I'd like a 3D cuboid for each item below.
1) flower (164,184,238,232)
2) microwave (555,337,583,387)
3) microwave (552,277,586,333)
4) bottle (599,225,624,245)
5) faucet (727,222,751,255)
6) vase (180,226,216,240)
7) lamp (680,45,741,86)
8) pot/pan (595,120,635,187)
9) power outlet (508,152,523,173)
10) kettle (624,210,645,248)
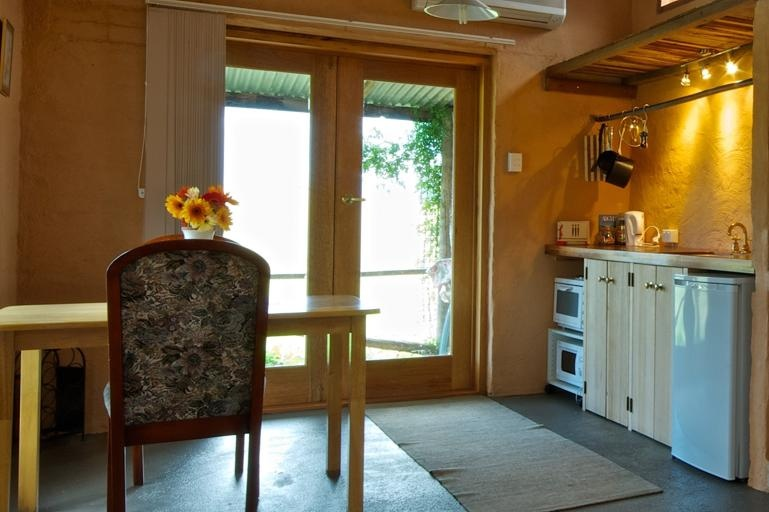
[{"bbox_3d":[-1.059,-0.279,3.607,0.382,0.372,0.232,-3,-27,-11],"label":"flower"},{"bbox_3d":[1.491,0.848,4.959,0.264,0.357,0.370,2,-3,-14],"label":"microwave"},{"bbox_3d":[1.431,0.399,5.102,0.384,0.411,0.335,12,-13,-34],"label":"microwave"},{"bbox_3d":[1.870,-0.174,5.089,0.232,0.172,0.137,0,0,-2],"label":"bottle"},{"bbox_3d":[2.495,-0.136,4.328,0.201,0.244,0.138,-14,11,-40],"label":"faucet"},{"bbox_3d":[-1.055,-0.132,3.563,0.162,0.068,0.164,0,-4,7],"label":"vase"},{"bbox_3d":[2.456,-1.442,4.672,0.470,0.255,0.284,10,14,41],"label":"lamp"},{"bbox_3d":[1.905,-0.838,5.091,0.302,0.523,0.214,15,-12,5],"label":"pot/pan"},{"bbox_3d":[1.065,-0.773,5.019,0.144,0.158,0.037,0,-1,-14],"label":"power outlet"},{"bbox_3d":[2.056,-0.241,5.068,0.167,0.264,0.361,5,12,22],"label":"kettle"}]
